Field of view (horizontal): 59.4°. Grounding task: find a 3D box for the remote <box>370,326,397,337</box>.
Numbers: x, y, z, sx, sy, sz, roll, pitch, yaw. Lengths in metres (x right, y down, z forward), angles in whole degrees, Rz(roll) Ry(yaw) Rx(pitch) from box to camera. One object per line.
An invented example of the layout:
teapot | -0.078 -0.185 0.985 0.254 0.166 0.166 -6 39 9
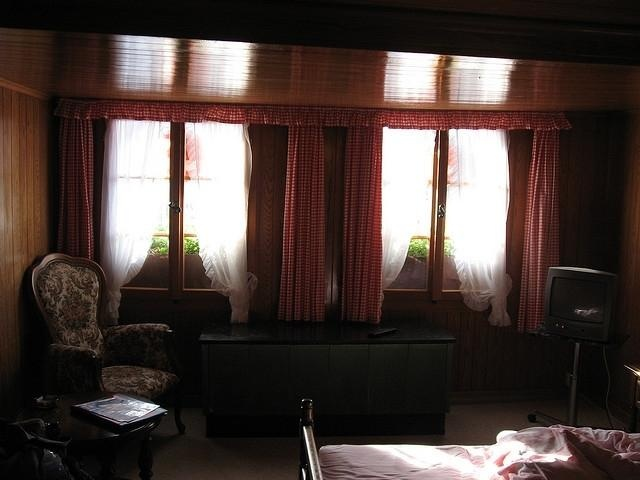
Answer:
remote | 0.521 0.787 4.765 0.181 0.040 0.085 -5 9 -27

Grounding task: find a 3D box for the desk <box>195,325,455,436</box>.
desk | 0.041 1.255 4.924 2.102 0.794 0.612 2 -5 -7

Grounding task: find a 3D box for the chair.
chair | -1.687 0.879 4.408 1.112 1.424 1.104 2 1 -10

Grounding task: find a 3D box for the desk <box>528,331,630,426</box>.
desk | 2.111 1.217 4.685 0.779 0.817 0.697 4 -4 32

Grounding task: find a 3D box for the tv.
tv | 2.165 0.517 4.679 0.507 0.549 0.332 7 12 37
